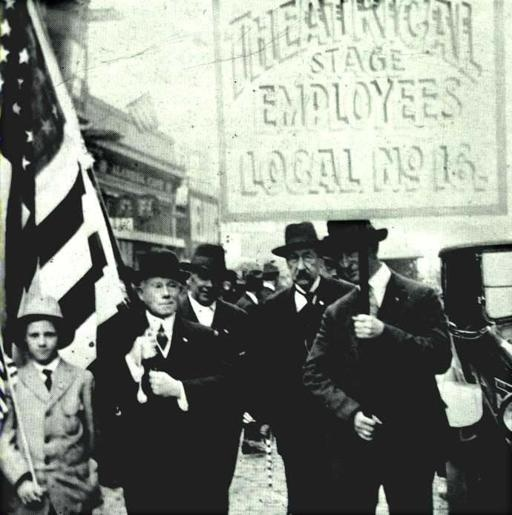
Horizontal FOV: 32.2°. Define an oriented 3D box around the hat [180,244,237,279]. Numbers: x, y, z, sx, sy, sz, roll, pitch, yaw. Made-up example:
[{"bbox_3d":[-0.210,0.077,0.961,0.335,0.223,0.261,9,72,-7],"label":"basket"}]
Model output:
[{"bbox_3d":[-0.367,0.046,6.750,0.207,0.123,0.275,15,-4,22],"label":"hat"}]
